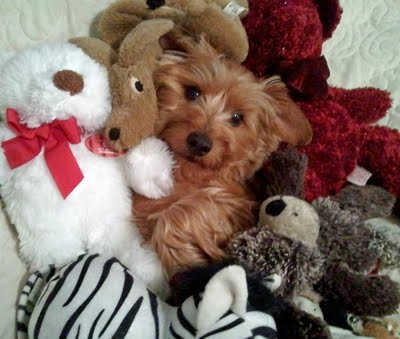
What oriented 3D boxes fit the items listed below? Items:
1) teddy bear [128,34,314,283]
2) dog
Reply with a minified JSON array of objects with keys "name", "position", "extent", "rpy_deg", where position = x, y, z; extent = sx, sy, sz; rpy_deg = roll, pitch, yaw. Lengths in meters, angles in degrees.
[{"name":"teddy bear","position":[-0.027,-0.013,1.426],"extent":[0.595,0.290,0.650],"rpy_deg":[28,66,-9]},{"name":"dog","position":[-0.024,-0.026,1.436],"extent":[0.587,0.313,0.658],"rpy_deg":[27,63,-11]}]
